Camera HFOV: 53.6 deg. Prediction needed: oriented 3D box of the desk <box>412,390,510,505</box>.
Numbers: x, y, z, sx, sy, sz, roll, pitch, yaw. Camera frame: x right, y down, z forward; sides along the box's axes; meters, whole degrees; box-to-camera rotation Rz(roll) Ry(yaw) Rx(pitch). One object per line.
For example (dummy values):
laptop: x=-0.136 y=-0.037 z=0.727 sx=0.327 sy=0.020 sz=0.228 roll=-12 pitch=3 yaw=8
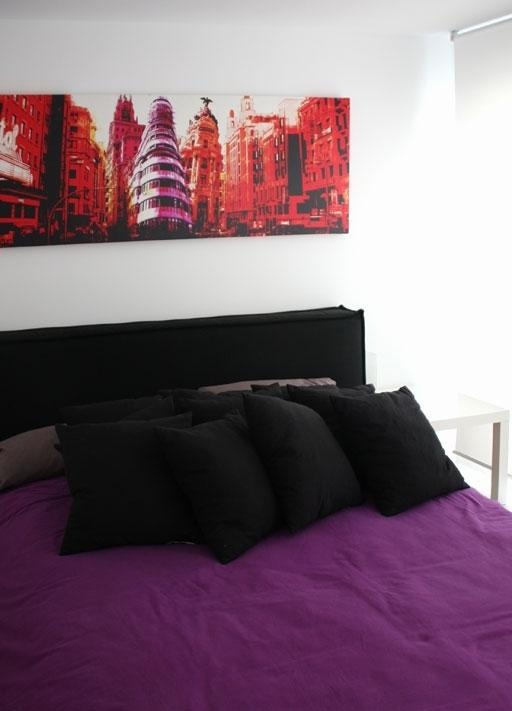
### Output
desk: x=1.096 y=0.440 z=2.822 sx=0.497 sy=0.608 sz=0.503 roll=-4 pitch=7 yaw=-35
